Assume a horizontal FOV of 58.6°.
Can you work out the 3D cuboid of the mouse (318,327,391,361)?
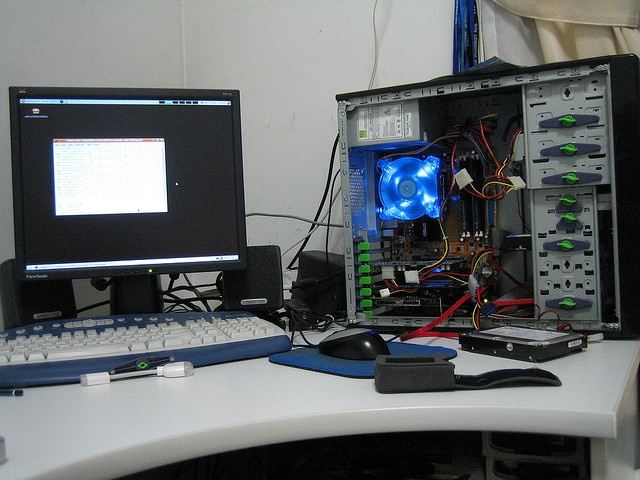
[{"bbox_3d":[0.065,0.199,1.139,0.154,0.049,0.111,0,1,43],"label":"mouse"}]

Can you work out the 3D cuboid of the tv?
[{"bbox_3d":[-0.421,-0.133,1.268,0.503,0.428,0.060,-4,5,-8],"label":"tv"}]

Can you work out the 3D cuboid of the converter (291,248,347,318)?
[{"bbox_3d":[-0.011,0.112,1.546,0.142,0.175,0.242,1,1,-4],"label":"converter"}]

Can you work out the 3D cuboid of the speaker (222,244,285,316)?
[{"bbox_3d":[-0.160,0.093,1.336,0.167,0.184,0.100,0,-6,-5],"label":"speaker"}]

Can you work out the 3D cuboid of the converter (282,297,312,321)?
[{"bbox_3d":[-0.052,0.169,1.409,0.036,0.019,0.073,2,13,-18],"label":"converter"}]
